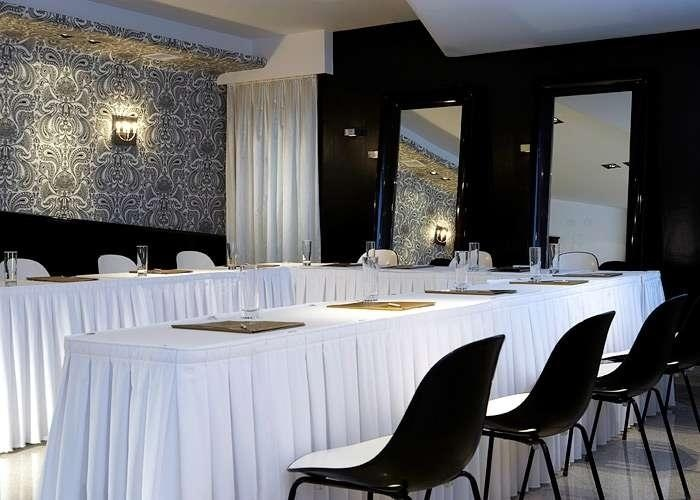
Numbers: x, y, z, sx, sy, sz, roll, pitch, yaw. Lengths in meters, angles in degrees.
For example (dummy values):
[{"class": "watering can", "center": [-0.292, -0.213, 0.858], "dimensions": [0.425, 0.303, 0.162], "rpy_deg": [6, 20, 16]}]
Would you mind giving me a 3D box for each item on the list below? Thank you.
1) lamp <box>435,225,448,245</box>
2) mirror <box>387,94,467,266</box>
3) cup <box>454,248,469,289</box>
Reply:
[{"class": "lamp", "center": [1.110, -0.176, 6.719], "dimensions": [0.167, 0.228, 0.063], "rpy_deg": [2, 8, 14]}, {"class": "mirror", "center": [0.975, -0.734, 6.861], "dimensions": [1.034, 2.859, 0.126], "rpy_deg": [5, -30, 3]}, {"class": "cup", "center": [0.636, 0.119, 3.071], "dimensions": [0.075, 0.215, 0.082], "rpy_deg": [-1, 1, 0]}]
